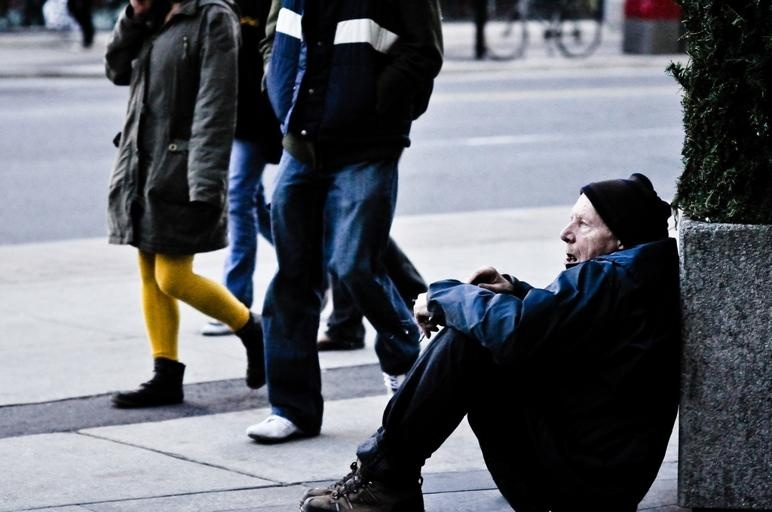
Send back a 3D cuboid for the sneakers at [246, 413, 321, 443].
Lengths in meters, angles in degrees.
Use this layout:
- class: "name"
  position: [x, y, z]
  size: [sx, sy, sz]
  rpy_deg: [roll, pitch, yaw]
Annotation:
- class: "sneakers"
  position: [-0.542, 0.923, 6.539]
  size: [0.374, 0.146, 0.127]
  rpy_deg: [10, -28, -21]
